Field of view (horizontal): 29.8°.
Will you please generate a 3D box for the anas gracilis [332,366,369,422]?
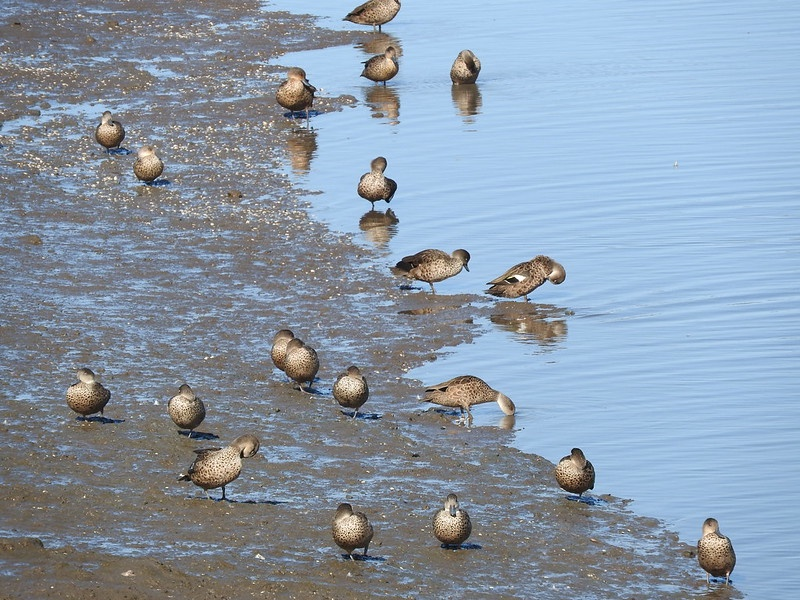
[{"bbox_3d":[-0.758,1.412,23.099,0.531,0.787,0.446,11,17,-2],"label":"anas gracilis"}]
